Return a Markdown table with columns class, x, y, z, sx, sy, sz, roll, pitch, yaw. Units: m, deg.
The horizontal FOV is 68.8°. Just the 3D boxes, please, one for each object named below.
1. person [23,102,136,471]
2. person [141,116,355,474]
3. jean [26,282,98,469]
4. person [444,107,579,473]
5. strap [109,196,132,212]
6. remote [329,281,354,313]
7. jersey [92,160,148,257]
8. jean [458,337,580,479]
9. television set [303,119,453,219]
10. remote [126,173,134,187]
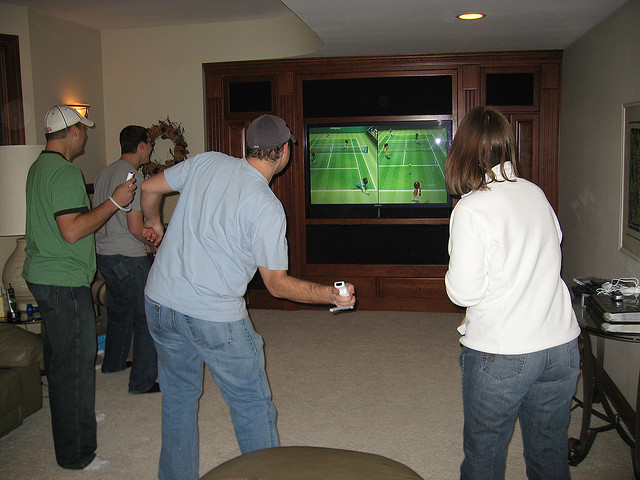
| class | x | y | z | sx | sy | sz | roll | pitch | yaw |
| --- | --- | --- | --- | --- | --- | --- | --- | --- | --- |
| person | -1.533 | 0.272 | 2.905 | 0.502 | 2.151 | 0.655 | -6 | 10 | -34 |
| person | -0.448 | 0.308 | 2.260 | 1.117 | 1.773 | 0.453 | 5 | 10 | 30 |
| jean | -1.484 | 0.797 | 2.778 | 0.316 | 1.127 | 0.210 | -5 | 10 | -27 |
| person | 0.779 | 0.252 | 1.912 | 0.548 | 1.569 | 0.300 | 2 | 9 | 18 |
| strap | -1.190 | -0.203 | 2.806 | 0.030 | 0.115 | 0.118 | -53 | 33 | -17 |
| remote | 0.093 | 0.245 | 2.070 | 0.086 | 0.146 | 0.050 | -6 | -1 | 12 |
| jersey | -1.395 | -0.198 | 3.274 | 0.369 | 0.692 | 0.596 | -5 | 13 | -44 |
| jean | 0.844 | 0.726 | 1.967 | 0.496 | 0.673 | 0.215 | -3 | 9 | -16 |
| television set | 0.751 | -0.881 | 5.540 | 1.219 | 0.846 | 0.029 | 0 | 6 | 7 |
| remote | -1.100 | -0.360 | 2.725 | 0.041 | 0.045 | 0.014 | 3 | -13 | 38 |
